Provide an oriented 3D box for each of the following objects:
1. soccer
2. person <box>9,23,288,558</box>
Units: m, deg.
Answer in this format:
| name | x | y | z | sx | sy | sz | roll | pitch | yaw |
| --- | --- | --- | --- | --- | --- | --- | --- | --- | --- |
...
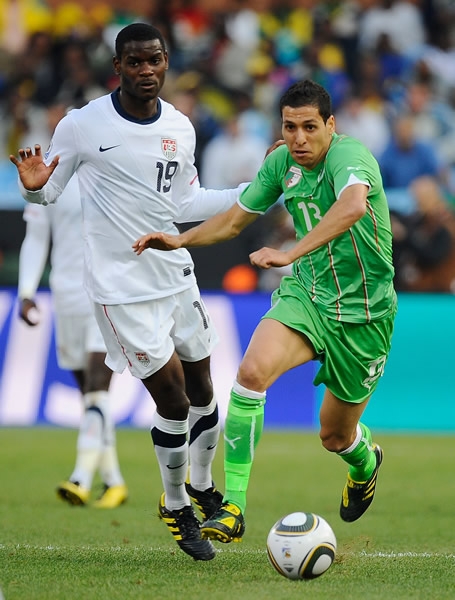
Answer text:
| name | x | y | z | sx | sy | sz | roll | pitch | yaw |
| --- | --- | --- | --- | --- | --- | --- | --- | --- | --- |
| soccer | 0.246 | 0.979 | 2.849 | 0.277 | 0.215 | 0.244 | 4 | 3 | -6 |
| person | -0.409 | -0.056 | 3.448 | 1.009 | 2.381 | 0.770 | 7 | 11 | 1 |
